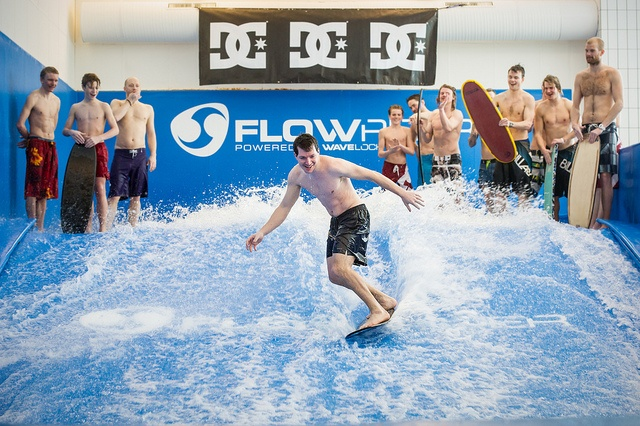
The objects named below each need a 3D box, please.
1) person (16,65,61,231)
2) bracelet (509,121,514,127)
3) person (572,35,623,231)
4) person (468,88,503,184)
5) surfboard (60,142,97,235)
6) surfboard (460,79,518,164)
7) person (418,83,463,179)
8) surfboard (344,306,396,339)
[{"bbox_3d":[-3.823,-0.876,8.211,0.562,2.163,0.477,-5,10,-29],"label":"person"},{"bbox_3d":[2.612,-1.204,8.090,0.065,0.109,0.035,9,-14,2],"label":"bracelet"},{"bbox_3d":[3.522,-0.949,7.706,0.646,2.639,0.606,5,-3,-24],"label":"person"},{"bbox_3d":[2.352,-1.131,8.648,0.195,1.538,0.318,-1,-13,-39],"label":"person"},{"bbox_3d":[-3.197,-0.500,8.002,0.392,1.910,0.221,3,36,-31],"label":"surfboard"},{"bbox_3d":[2.454,-1.256,8.619,0.302,1.064,1.028,-32,-5,15],"label":"surfboard"},{"bbox_3d":[1.795,-1.152,8.727,0.405,1.368,0.673,-3,10,-17],"label":"person"},{"bbox_3d":[0.589,1.186,6.454,0.191,0.162,0.851,1,1,33],"label":"surfboard"}]
